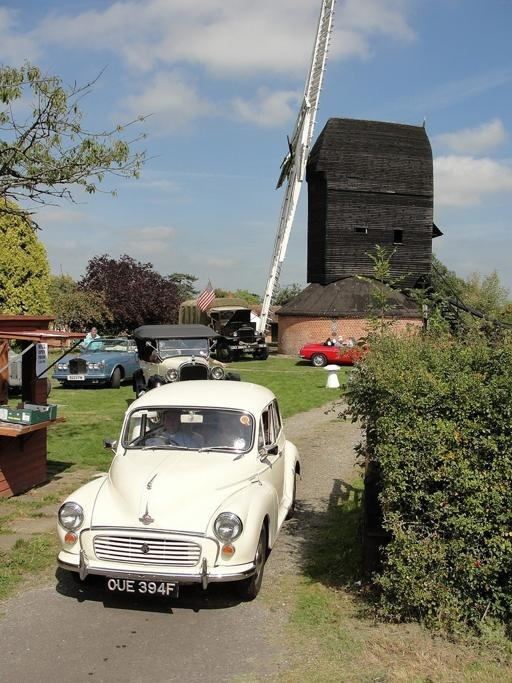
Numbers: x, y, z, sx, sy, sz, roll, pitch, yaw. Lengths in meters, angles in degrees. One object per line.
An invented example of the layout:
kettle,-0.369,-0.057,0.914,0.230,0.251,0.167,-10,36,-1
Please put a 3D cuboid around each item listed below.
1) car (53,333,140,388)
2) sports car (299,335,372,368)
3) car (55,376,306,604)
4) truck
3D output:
car,-5.427,0.656,19.429,1.831,1.160,3.726,0,0,13
sports car,3.741,0.301,27.977,3.039,0.951,1.538,-2,13,3
car,-0.675,1.413,5.796,1.737,1.768,2.305,3,2,13
truck,-1.950,-0.504,33.145,3.129,3.441,6.482,-3,3,-34
